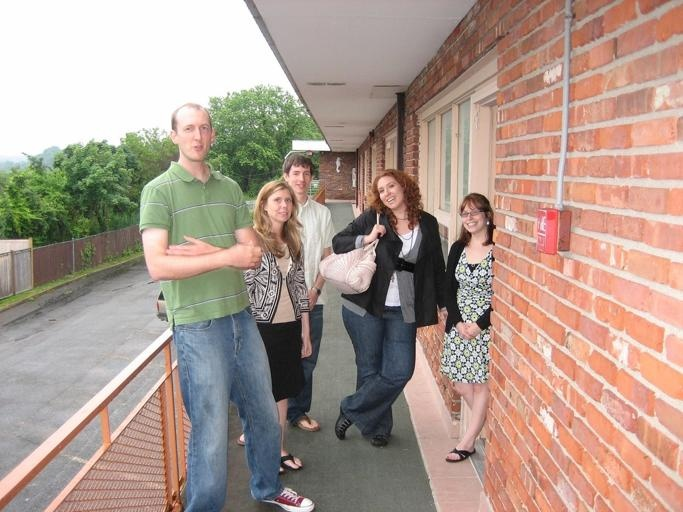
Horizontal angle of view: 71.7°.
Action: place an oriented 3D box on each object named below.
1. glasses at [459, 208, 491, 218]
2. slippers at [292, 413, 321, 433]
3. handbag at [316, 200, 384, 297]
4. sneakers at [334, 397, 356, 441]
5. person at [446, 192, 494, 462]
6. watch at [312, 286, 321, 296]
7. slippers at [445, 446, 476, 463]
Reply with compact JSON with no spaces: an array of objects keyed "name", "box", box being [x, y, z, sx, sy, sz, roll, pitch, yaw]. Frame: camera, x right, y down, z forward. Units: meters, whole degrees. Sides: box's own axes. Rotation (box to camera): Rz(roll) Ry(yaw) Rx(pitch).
[{"name":"glasses","box":[1.023,-0.325,3.514,0.239,0.094,0.087,-1,7,-11]},{"name":"slippers","box":[-0.309,1.515,4.239,0.225,0.238,0.116,0,16,5]},{"name":"handbag","box":[0.042,0.101,3.873,0.293,0.628,0.589,15,-20,-22]},{"name":"sneakers","box":[0.034,1.401,4.158,0.152,0.393,0.127,-1,-9,29]},{"name":"person","box":[0.959,0.595,3.581,0.349,2.128,0.395,2,7,8]},{"name":"watch","box":[-0.204,0.287,3.958,0.060,0.068,0.042,-4,13,-6]},{"name":"slippers","box":[0.972,1.596,3.818,0.213,0.055,0.090,2,-1,-28]}]
